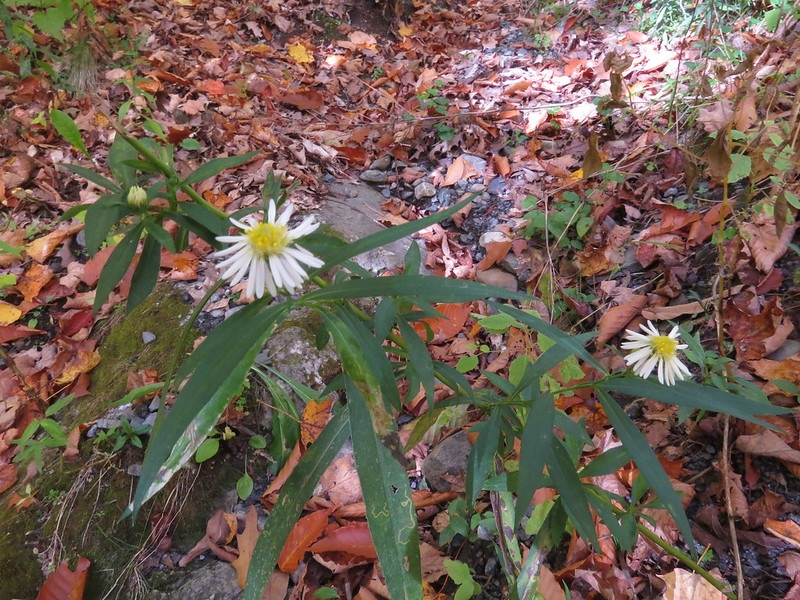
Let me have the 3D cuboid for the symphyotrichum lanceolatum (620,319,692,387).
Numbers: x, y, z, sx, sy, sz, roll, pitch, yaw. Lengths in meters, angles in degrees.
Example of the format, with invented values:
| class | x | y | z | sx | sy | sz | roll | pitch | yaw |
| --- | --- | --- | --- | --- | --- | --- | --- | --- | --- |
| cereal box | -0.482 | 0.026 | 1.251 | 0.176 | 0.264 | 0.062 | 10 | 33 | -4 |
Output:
| class | x | y | z | sx | sy | sz | roll | pitch | yaw |
| --- | --- | --- | --- | --- | --- | --- | --- | --- | --- |
| symphyotrichum lanceolatum | 0.847 | 0.214 | 1.760 | 0.242 | 0.086 | 0.244 | -10 | 69 | 4 |
